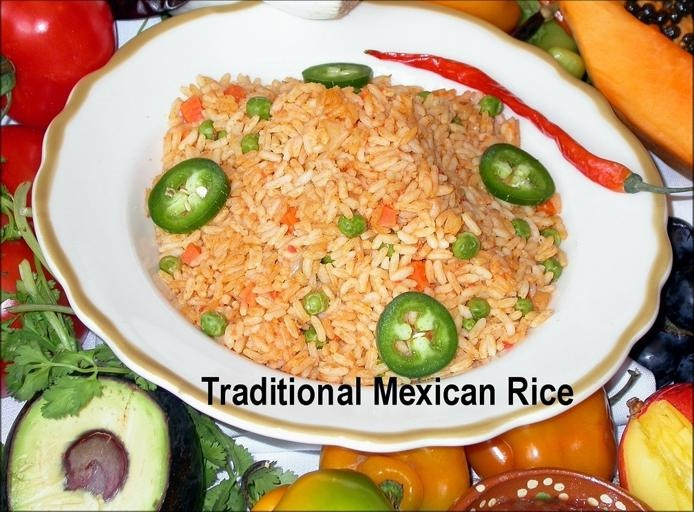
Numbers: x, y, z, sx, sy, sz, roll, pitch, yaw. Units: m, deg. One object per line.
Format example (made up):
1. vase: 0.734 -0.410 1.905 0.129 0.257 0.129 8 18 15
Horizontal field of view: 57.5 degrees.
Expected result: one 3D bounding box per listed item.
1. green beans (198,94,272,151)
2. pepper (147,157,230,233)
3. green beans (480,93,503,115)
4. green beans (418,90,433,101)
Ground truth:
1. green beans: -0.479 -0.597 2.715 0.274 0.185 0.269 -19 117 -37
2. pepper: -0.637 -0.251 2.565 0.260 0.100 0.316 26 77 10
3. green beans: 0.634 -0.650 2.796 0.097 0.075 0.080 29 99 11
4. green beans: 0.345 -0.710 2.801 0.044 0.032 0.056 -8 38 13
